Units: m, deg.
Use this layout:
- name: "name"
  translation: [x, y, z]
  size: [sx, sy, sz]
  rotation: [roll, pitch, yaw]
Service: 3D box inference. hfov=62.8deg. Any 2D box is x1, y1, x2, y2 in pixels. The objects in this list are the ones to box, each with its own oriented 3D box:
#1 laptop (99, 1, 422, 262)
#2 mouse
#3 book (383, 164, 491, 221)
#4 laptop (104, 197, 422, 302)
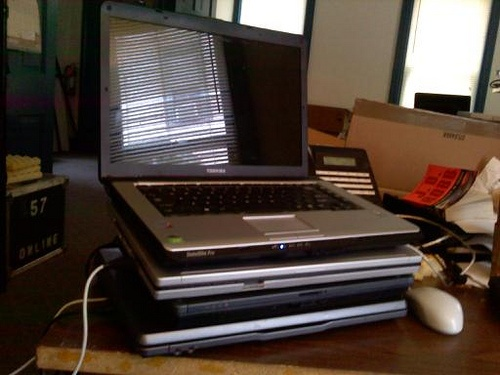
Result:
- name: "laptop"
  translation: [-0.035, -0.097, 0.755]
  size: [0.529, 0.440, 0.431]
  rotation: [1, 7, -22]
- name: "mouse"
  translation: [0.292, 0.194, 0.657]
  size: [0.057, 0.027, 0.076]
  rotation: [-10, 26, -38]
- name: "book"
  translation: [0.441, 0.009, 0.979]
  size: [0.179, 0.059, 0.131]
  rotation: [-35, 33, -22]
- name: "laptop"
  translation: [0.039, 0.097, 0.605]
  size: [0.454, 0.090, 0.145]
  rotation: [-4, 19, -10]
